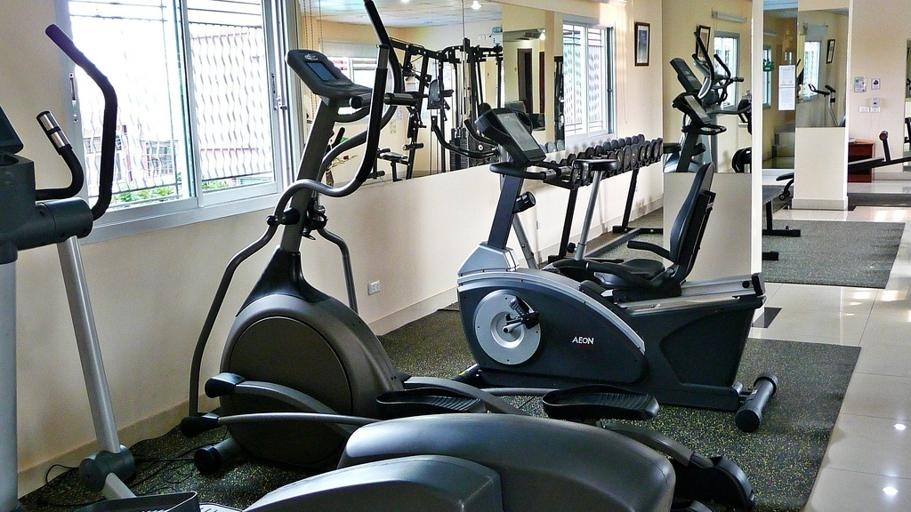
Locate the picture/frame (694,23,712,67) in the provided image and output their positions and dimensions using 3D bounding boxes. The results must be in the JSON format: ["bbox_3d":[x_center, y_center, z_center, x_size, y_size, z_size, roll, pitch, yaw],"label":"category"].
[{"bbox_3d":[2.356,-2.002,5.937,0.174,0.331,0.032,-3,12,-30],"label":"picture/frame"}]
